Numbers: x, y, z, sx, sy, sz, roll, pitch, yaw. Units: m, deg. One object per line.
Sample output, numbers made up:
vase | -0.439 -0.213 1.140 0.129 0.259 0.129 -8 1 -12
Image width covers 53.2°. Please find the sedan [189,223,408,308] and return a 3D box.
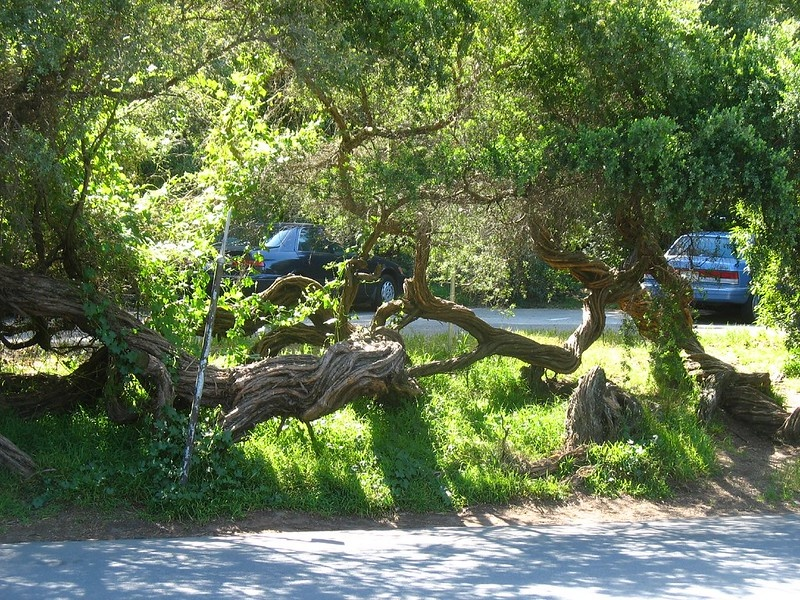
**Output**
sedan | -1.602 -0.655 15.977 3.100 1.175 1.357 0 -4 -37

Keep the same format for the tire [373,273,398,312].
tire | -0.321 -0.175 16.297 0.250 0.878 0.803 3 3 25
